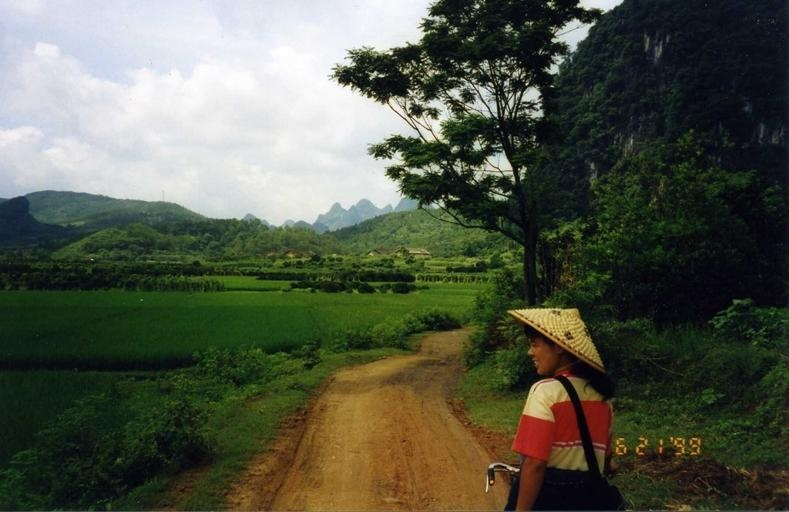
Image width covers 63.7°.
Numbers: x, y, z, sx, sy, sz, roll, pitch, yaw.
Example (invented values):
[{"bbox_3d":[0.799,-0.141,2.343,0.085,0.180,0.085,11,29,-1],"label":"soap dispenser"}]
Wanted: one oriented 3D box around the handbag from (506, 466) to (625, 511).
[{"bbox_3d":[4.390,5.850,15.759,1.865,0.693,1.319,0,-13,14],"label":"handbag"}]
